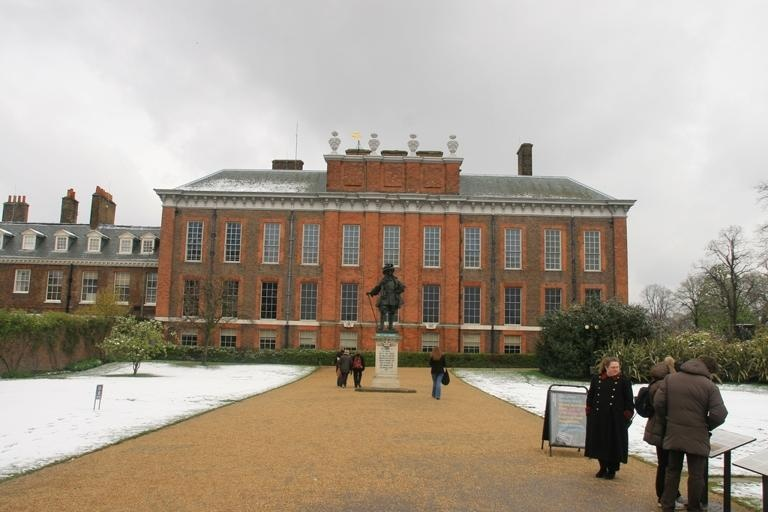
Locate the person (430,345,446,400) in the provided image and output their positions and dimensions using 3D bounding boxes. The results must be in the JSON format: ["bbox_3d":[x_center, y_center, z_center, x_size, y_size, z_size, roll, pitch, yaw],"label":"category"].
[{"bbox_3d":[2.128,4.516,25.920,0.521,1.909,0.906,0,-8,5],"label":"person"}]

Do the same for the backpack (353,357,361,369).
[{"bbox_3d":[-1.083,4.648,29.452,0.448,0.512,0.376,4,-9,-22],"label":"backpack"}]

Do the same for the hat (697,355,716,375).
[{"bbox_3d":[7.398,2.502,15.458,0.370,0.440,0.456,4,8,2],"label":"hat"}]
